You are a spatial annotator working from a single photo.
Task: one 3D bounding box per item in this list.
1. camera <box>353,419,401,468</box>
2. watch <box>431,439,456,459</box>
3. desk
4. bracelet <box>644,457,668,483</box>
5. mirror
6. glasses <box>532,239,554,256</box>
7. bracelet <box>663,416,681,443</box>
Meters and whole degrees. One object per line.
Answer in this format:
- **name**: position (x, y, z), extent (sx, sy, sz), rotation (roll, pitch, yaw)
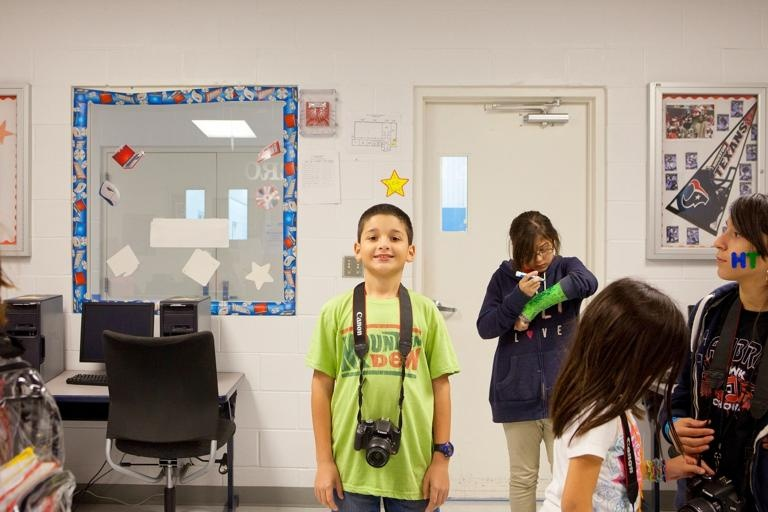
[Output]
- **camera**: position (-0.027, 0.909, 3.778), extent (0.245, 0.154, 0.224), rotation (16, 36, -10)
- **watch**: position (0.309, 0.980, 3.901), extent (0.102, 0.069, 0.104), rotation (13, -19, -33)
- **desk**: position (-1.583, 1.275, 4.950), extent (0.996, 0.754, 0.962), rotation (-1, -6, 2)
- **bracelet**: position (1.339, 1.043, 3.751), extent (0.095, 0.078, 0.116), rotation (-1, -1, 8)
- **mirror**: position (-1.269, -0.414, 5.050), extent (1.469, 1.519, 0.072), rotation (1, 3, 4)
- **glasses**: position (0.927, -0.052, 4.391), extent (0.088, 0.091, 0.032), rotation (0, 11, 3)
- **bracelet**: position (1.443, 0.868, 3.846), extent (0.046, 0.123, 0.088), rotation (-4, -3, -10)
